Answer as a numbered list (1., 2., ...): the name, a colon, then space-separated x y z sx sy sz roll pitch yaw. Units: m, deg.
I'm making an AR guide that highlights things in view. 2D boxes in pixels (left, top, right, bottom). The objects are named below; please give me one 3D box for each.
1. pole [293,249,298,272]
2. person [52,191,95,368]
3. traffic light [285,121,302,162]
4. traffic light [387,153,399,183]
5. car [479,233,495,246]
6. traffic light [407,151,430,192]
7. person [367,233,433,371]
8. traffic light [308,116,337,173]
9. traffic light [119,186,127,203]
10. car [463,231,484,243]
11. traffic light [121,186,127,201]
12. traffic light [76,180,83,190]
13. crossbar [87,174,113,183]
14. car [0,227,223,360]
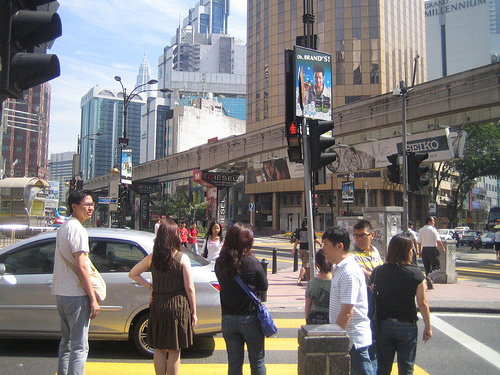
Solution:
1. pole: 1.680 2.676 21.558 0.163 0.844 0.728 1 -2 5
2. person: -2.786 1.408 9.326 0.618 2.721 1.253 2 -2 -19
3. traffic light: 0.901 -0.954 12.109 0.286 0.803 0.194 -4 -4 18
4. traffic light: 4.636 -0.647 19.044 0.347 1.006 1.641 1 -2 13
5. car: 16.957 3.690 42.203 0.888 0.885 2.303 1 -2 20
6. traffic light: 5.181 -0.495 18.208 0.560 1.258 1.441 1 -2 22
7. person: 2.229 1.699 8.814 0.861 2.009 0.344 1 -2 14
8. traffic light: 1.492 -0.818 11.868 0.488 1.074 0.316 -3 -19 8
9. traffic light: -5.544 0.256 25.844 0.339 0.589 0.165 -1 10 -8
10. car: 17.043 3.684 45.590 0.830 0.774 1.881 -2 2 33
11. traffic light: -5.483 0.220 25.825 0.251 0.600 0.336 2 -2 -14
12. traffic light: -7.586 -0.145 26.298 0.313 0.374 0.636 2 11 -4
13. crossbar: -17.474 -1.034 67.862 0.282 0.298 14.610 2 -2 -23
14. car: -2.465 1.749 10.285 4.049 1.550 2.021 3 -7 -5
